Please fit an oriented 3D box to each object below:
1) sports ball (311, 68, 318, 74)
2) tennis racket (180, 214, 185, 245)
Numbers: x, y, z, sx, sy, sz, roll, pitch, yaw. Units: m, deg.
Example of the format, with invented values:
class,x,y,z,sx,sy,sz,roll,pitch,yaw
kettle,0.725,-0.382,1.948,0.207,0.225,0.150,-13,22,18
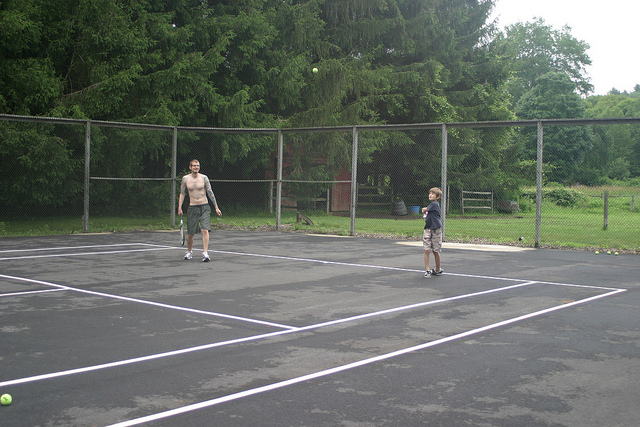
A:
class,x,y,z,sx,sy,sz,roll,pitch,yaw
sports ball,-0.271,-6.958,26.942,0.230,0.221,0.230,0,-1,0
tennis racket,-4.210,0.512,17.081,0.148,0.195,0.935,-5,-26,-13
